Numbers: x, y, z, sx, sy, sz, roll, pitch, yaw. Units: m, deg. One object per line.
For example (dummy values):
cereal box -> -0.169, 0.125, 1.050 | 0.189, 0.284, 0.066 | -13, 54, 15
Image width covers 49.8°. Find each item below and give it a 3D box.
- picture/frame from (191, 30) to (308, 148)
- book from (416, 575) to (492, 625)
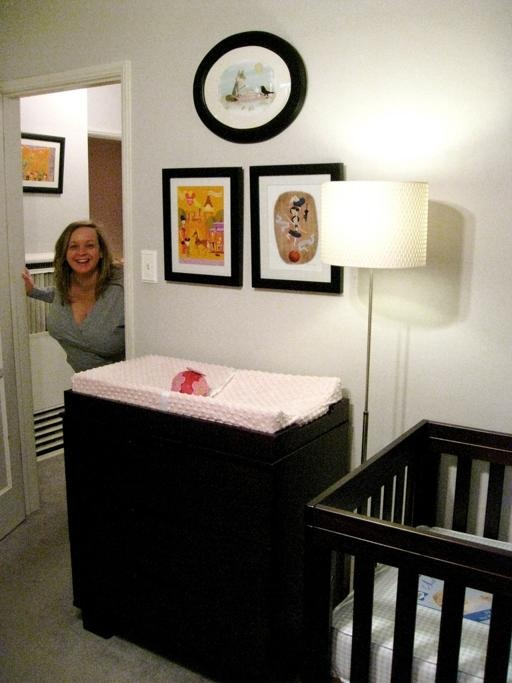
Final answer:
picture/frame -> -0.009, -0.768, 1.661 | 0.342, 0.327, 0.039 | 10, 15, 35
book -> 0.398, 0.518, 1.115 | 0.140, 0.041, 0.137 | 5, 15, 24
